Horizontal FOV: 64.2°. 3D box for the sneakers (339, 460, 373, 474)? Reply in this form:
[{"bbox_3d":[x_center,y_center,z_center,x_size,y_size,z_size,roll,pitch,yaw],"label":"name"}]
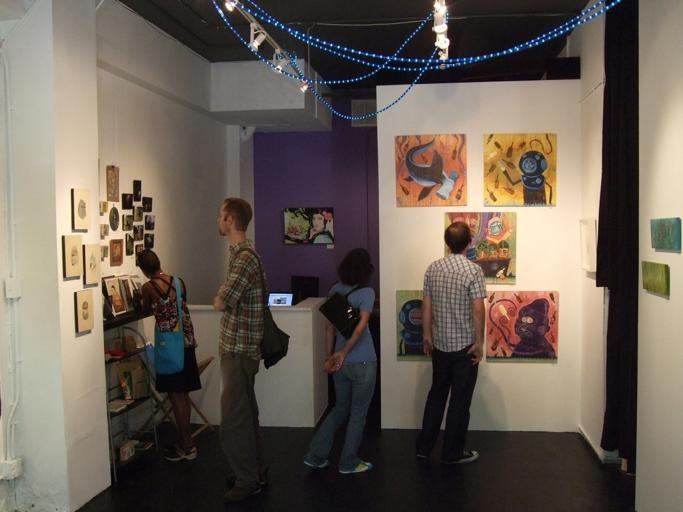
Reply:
[{"bbox_3d":[0.138,1.877,4.866,0.271,0.132,0.115,-2,0,-11],"label":"sneakers"}]

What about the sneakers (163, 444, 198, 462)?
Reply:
[{"bbox_3d":[-1.505,1.873,5.129,0.235,0.109,0.136,4,-2,0],"label":"sneakers"}]

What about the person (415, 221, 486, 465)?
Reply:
[{"bbox_3d":[1.000,0.792,4.972,0.579,2.190,0.388,1,5,17],"label":"person"}]

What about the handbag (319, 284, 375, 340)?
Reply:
[{"bbox_3d":[0.019,0.475,4.715,0.393,0.415,0.121,-41,-8,12],"label":"handbag"}]

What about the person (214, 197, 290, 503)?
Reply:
[{"bbox_3d":[-0.760,0.755,4.542,0.520,2.442,0.409,-1,5,-8],"label":"person"}]

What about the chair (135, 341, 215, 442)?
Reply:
[{"bbox_3d":[-1.682,1.460,5.872,0.865,1.166,0.650,0,2,4],"label":"chair"}]

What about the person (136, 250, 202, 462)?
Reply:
[{"bbox_3d":[-1.599,0.935,5.120,0.518,1.961,0.292,-1,5,-13],"label":"person"}]
